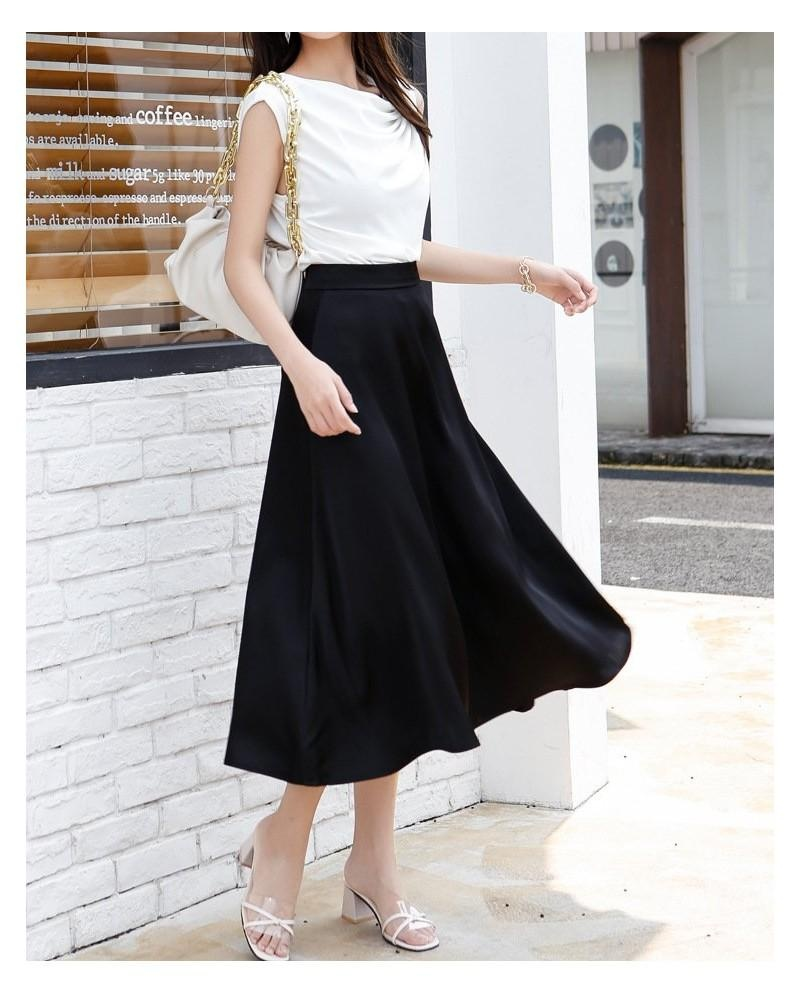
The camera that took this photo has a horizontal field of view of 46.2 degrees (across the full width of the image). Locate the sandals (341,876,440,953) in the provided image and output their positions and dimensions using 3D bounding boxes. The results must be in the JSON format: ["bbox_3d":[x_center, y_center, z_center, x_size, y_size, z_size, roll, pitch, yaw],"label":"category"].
[{"bbox_3d":[-0.015,0.709,1.622,0.172,0.063,0.074,10,16,42],"label":"sandals"}]

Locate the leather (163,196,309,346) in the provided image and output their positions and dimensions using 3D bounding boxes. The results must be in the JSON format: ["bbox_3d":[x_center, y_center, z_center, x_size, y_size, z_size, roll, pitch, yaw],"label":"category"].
[{"bbox_3d":[-0.235,-0.318,1.388,0.191,0.216,0.094,9,8,34],"label":"leather"}]

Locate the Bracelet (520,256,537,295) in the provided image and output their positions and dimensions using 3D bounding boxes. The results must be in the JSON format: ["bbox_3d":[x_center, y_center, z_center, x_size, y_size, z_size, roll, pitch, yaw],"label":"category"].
[{"bbox_3d":[0.228,-0.390,1.632,0.016,0.053,0.033,-26,28,-26],"label":"Bracelet"}]

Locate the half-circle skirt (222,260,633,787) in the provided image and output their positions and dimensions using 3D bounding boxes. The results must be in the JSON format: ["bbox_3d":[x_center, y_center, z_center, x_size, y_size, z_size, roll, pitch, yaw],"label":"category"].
[{"bbox_3d":[0.023,0.026,1.373,0.556,0.745,0.197,-1,7,-11],"label":"half-circle skirt"}]
